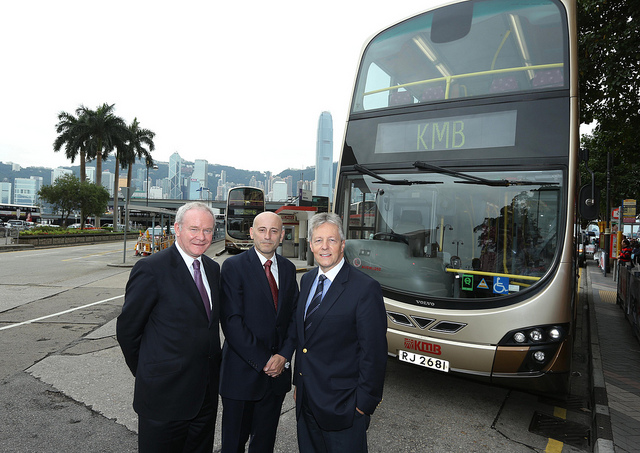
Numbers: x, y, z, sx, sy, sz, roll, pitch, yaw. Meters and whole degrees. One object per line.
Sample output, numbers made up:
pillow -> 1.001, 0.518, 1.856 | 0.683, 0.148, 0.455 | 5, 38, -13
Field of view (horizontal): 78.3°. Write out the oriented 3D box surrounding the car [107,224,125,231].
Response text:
car -> -26.733, 0.161, 51.517 | 1.656, 0.965, 1.052 | -4, -5, 25

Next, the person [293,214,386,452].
person -> 0.182, 0.997, 3.650 | 0.844, 2.204, 0.376 | 1, 1, 10

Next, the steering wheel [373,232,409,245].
steering wheel -> 1.095, 0.186, 6.279 | 0.269, 0.068, 0.254 | 19, -4, 1

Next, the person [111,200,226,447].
person -> -1.348, 0.919, 3.620 | 0.896, 2.287, 0.325 | 1, 1, -14

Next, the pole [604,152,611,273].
pole -> 12.848, -0.125, 17.554 | 0.276, 0.287, 7.965 | -5, -49, 32

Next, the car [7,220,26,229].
car -> -38.526, -0.213, 49.928 | 1.773, 1.076, 1.217 | -1, 3, -4
